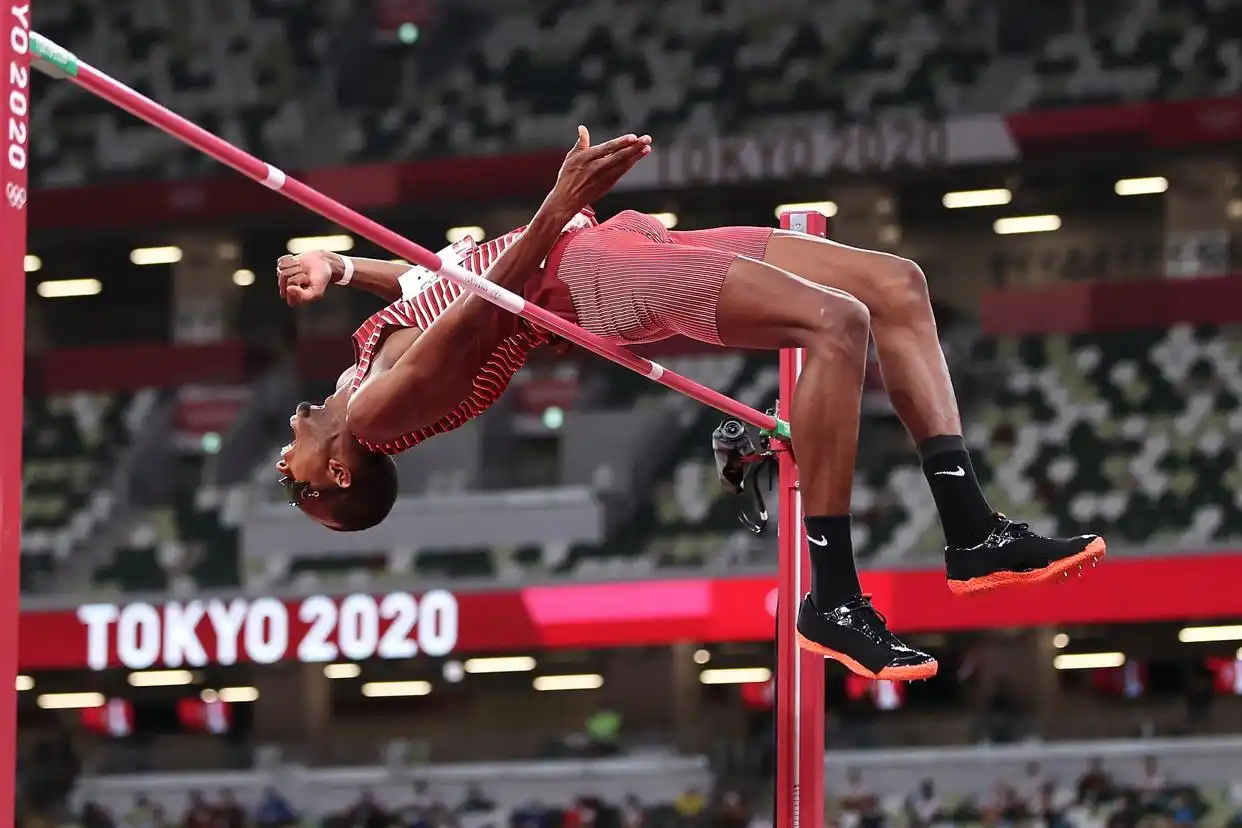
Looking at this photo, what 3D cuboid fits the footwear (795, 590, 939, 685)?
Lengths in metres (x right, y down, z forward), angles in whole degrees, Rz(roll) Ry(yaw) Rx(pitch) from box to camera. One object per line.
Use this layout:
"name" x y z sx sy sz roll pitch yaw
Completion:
"footwear" 1.378 1.263 14.212 1.039 0.396 0.349 14 8 15

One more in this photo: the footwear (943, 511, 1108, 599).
"footwear" 2.360 0.767 14.141 1.076 0.419 0.356 -16 -14 42
